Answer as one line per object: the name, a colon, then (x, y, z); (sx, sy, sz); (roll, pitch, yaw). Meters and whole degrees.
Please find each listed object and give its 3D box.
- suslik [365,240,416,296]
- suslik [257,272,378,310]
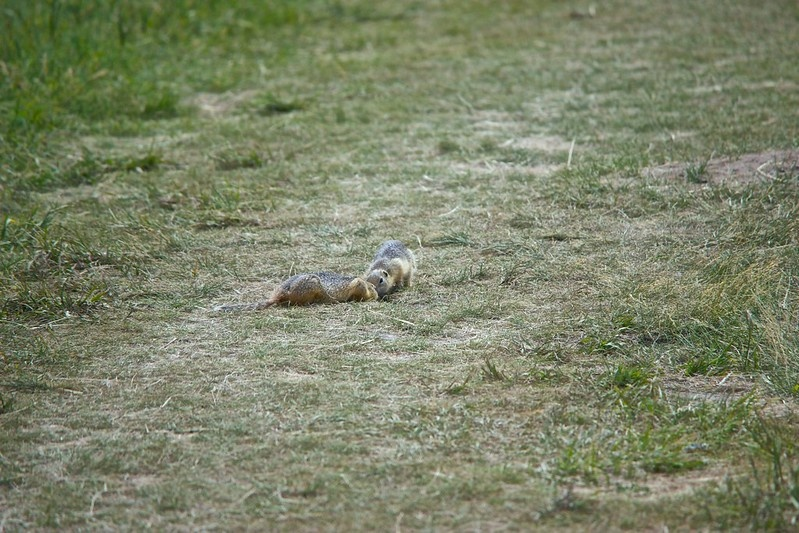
suslik: (-0.050, 0.011, 7.346); (0.259, 0.229, 0.519); (1, 17, 17)
suslik: (-0.662, 0.176, 7.126); (1.008, 0.241, 0.261); (5, -1, -29)
